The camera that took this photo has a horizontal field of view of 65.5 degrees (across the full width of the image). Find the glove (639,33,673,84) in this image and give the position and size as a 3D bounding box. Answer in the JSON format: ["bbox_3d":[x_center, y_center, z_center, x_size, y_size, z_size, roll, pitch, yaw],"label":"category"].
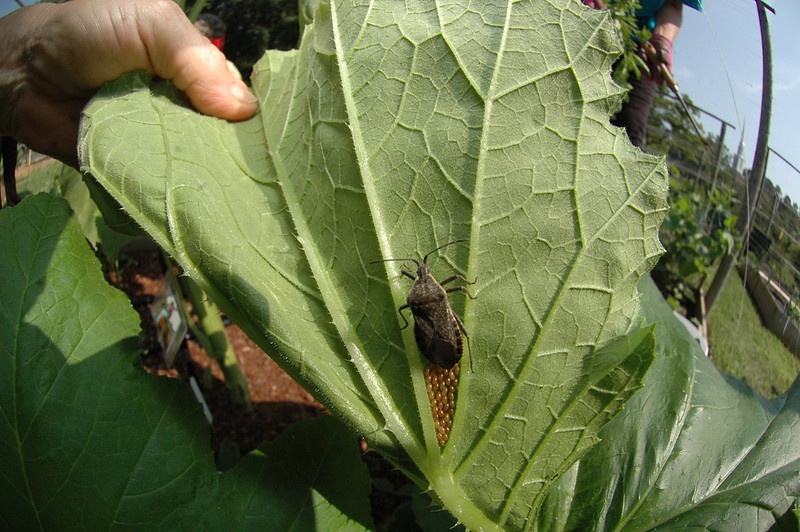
[{"bbox_3d":[1.450,-1.165,3.496,0.085,0.254,0.204,-7,17,-42],"label":"glove"}]
